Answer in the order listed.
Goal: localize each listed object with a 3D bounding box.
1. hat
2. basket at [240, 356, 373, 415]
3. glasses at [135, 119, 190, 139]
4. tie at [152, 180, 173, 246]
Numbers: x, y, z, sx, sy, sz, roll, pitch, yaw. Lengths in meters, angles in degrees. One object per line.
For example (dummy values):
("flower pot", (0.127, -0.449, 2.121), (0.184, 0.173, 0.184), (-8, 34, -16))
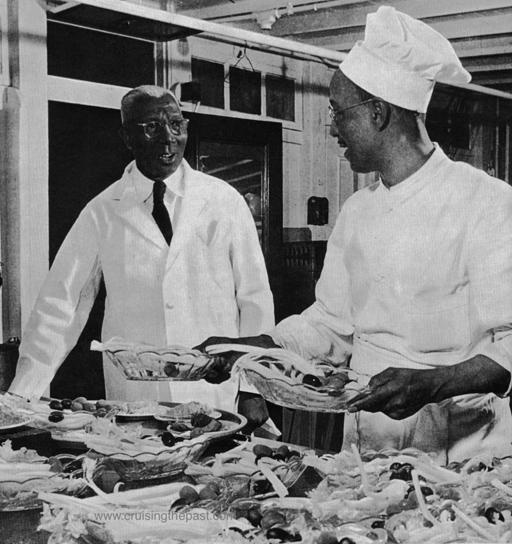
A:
("hat", (0.355, -0.452, 3.353), (0.257, 0.162, 0.204), (29, 8, 6))
("basket", (0.104, 0.262, 3.397), (0.158, 0.057, 0.173), (20, -13, 7))
("glasses", (-0.231, -0.356, 3.569), (0.127, 0.046, 0.021), (4, -1, -6))
("tie", (-0.235, -0.152, 3.621), (0.038, 0.174, 0.018), (-5, 12, -7))
